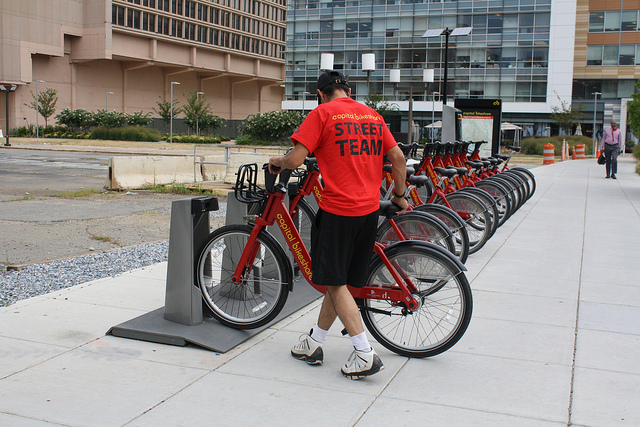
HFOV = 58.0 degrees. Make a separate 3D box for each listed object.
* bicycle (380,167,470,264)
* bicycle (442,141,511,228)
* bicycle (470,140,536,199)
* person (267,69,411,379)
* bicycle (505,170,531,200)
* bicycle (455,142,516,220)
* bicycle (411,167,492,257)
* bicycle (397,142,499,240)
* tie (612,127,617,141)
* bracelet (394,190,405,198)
[{"bbox_3d":[1.201,0.016,7.597,1.655,1.140,0.860,7,19,22],"label":"bicycle"},{"bbox_3d":[2.567,-0.542,10.848,1.860,1.226,1.021,4,7,22],"label":"bicycle"},{"bbox_3d":[4.544,-1.089,15.092,2.303,1.522,1.421,7,15,36],"label":"bicycle"},{"bbox_3d":[0.175,0.068,5.326,1.161,2.691,0.875,2,11,6],"label":"person"},{"bbox_3d":[4.681,-0.844,13.805,0.132,0.584,0.557,-27,28,19],"label":"bicycle"},{"bbox_3d":[3.466,-0.786,11.669,1.778,1.211,1.087,2,5,25],"label":"bicycle"},{"bbox_3d":[2.055,-0.225,9.194,0.903,1.240,1.921,-17,18,-22],"label":"bicycle"},{"bbox_3d":[2.015,-0.467,9.630,1.903,1.262,1.236,6,7,20],"label":"bicycle"},{"bbox_3d":[10.785,-2.885,21.179,0.101,0.434,0.137,6,12,26],"label":"tie"},{"bbox_3d":[0.769,-0.190,5.593,0.099,0.071,0.116,2,12,6],"label":"bracelet"}]
